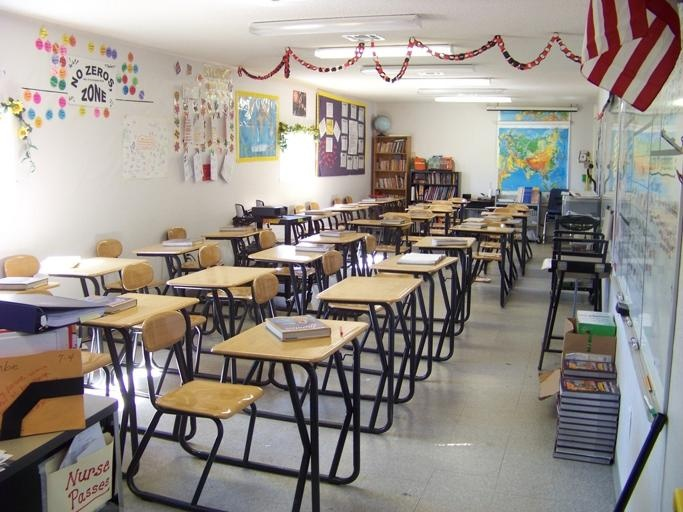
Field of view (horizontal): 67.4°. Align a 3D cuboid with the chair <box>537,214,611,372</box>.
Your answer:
[{"bbox_3d":[2.412,0.400,5.322,0.498,1.064,1.653,3,7,18],"label":"chair"}]

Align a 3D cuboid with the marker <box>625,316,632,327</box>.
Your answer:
[{"bbox_3d":[1.766,0.412,3.183,0.033,0.079,0.057,-8,-21,30],"label":"marker"}]

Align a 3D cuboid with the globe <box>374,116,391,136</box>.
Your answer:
[{"bbox_3d":[1.063,-3.696,14.467,0.477,0.585,0.483,-1,8,24],"label":"globe"}]

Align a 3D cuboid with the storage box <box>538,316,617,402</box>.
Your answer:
[{"bbox_3d":[1.843,0.833,3.925,0.544,0.336,0.794,-1,7,23],"label":"storage box"}]

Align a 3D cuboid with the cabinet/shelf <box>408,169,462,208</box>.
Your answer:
[{"bbox_3d":[2.515,-1.845,13.696,1.451,1.375,0.497,2,5,22],"label":"cabinet/shelf"}]

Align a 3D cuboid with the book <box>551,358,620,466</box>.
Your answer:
[{"bbox_3d":[1.630,1.011,3.680,0.484,0.629,0.907,4,10,18],"label":"book"}]

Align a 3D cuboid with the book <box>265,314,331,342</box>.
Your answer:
[{"bbox_3d":[-0.257,0.416,3.007,0.315,0.074,0.323,-7,11,-20],"label":"book"}]

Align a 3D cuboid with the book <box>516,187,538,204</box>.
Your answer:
[{"bbox_3d":[4.809,-1.542,13.426,0.443,0.595,0.606,3,-1,4],"label":"book"}]

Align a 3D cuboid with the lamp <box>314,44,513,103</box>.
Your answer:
[{"bbox_3d":[1.740,-3.086,9.034,2.231,0.525,2.209,7,13,19],"label":"lamp"}]
